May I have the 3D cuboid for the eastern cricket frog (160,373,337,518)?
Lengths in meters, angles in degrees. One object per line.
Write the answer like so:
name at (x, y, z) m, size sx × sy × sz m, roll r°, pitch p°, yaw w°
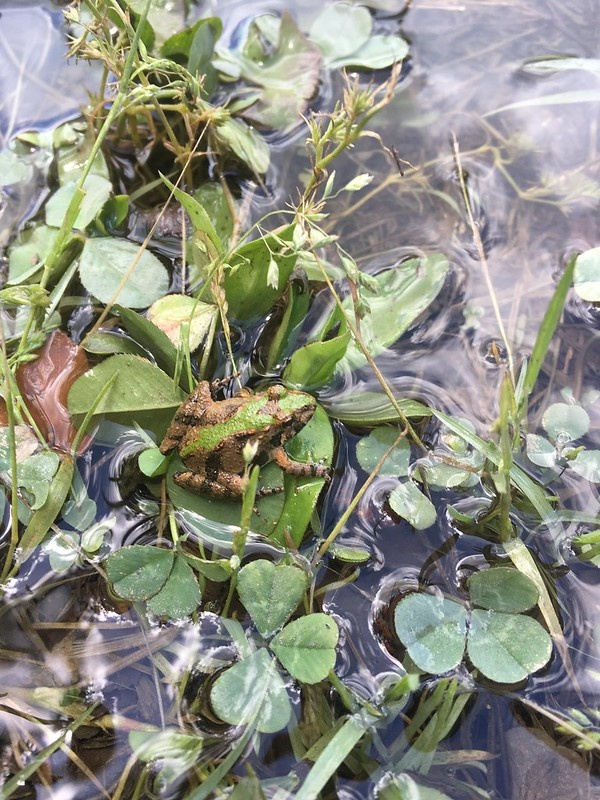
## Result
eastern cricket frog at (-0.156, 0.081, 1.898) m, size 0.442 × 0.153 × 0.334 m, roll -10°, pitch 60°, yaw 7°
